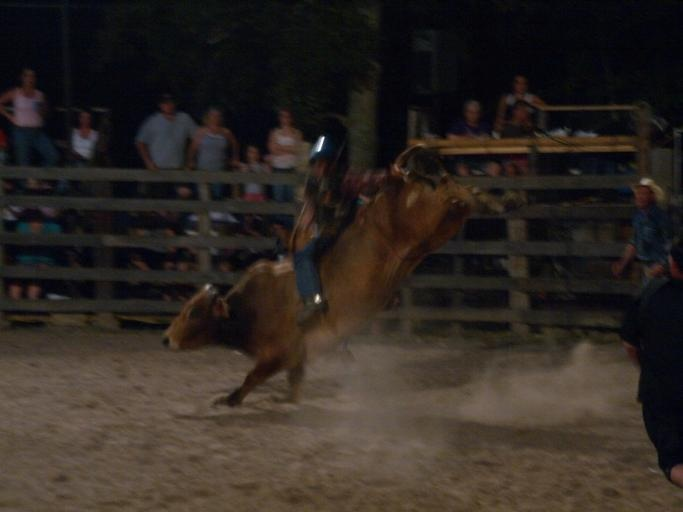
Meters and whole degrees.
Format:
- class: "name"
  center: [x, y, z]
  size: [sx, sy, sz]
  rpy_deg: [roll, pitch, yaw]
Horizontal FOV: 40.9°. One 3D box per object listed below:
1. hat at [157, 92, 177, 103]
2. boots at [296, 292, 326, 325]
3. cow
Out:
- class: "hat"
  center: [-1.706, -1.515, 8.939]
  size: [0.158, 0.057, 0.151]
  rpy_deg: [-10, -15, -1]
- class: "boots"
  center: [-0.210, 0.399, 6.696]
  size: [0.212, 0.285, 0.158]
  rpy_deg: [1, 14, -2]
- class: "cow"
  center: [0.062, 0.170, 7.813]
  size: [0.796, 2.220, 1.143]
  rpy_deg: [52, -9, -28]
